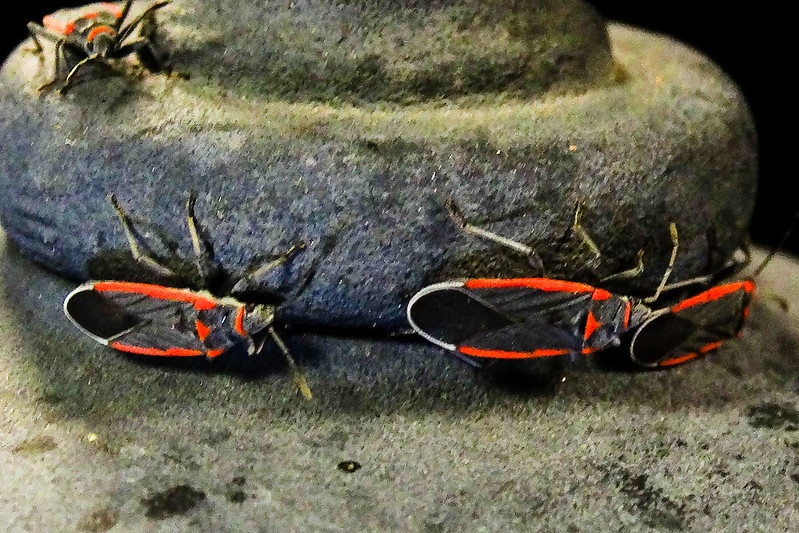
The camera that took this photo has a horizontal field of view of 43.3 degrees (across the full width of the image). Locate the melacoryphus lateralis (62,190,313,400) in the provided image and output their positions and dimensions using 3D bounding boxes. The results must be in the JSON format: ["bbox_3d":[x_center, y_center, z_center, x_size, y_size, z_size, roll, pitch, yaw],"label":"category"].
[{"bbox_3d":[-0.296,0.039,1.513,0.383,0.272,0.168,12,55,6],"label":"melacoryphus lateralis"}]

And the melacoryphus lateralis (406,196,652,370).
[{"bbox_3d":[0.202,-0.001,1.518,0.405,0.218,0.262,8,40,8],"label":"melacoryphus lateralis"}]
